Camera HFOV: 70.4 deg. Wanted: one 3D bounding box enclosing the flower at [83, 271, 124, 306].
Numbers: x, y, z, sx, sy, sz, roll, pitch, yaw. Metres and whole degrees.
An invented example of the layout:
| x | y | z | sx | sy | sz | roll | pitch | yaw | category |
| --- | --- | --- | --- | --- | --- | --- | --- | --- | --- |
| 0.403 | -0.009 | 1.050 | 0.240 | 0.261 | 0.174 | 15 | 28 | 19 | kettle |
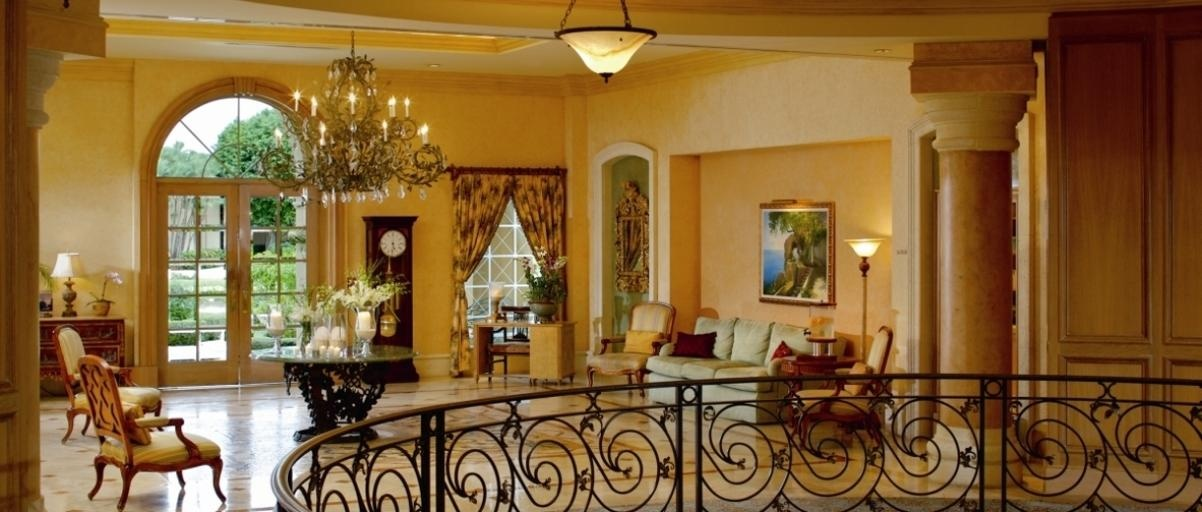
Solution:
| x | y | z | sx | sy | sz | roll | pitch | yaw | category |
| --- | --- | --- | --- | --- | --- | --- | --- | --- | --- |
| -9.861 | 0.689 | 17.092 | 0.847 | 0.671 | 0.681 | 2 | -4 | -29 | flower |

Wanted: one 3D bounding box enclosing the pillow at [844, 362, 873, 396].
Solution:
| x | y | z | sx | sy | sz | roll | pitch | yaw | category |
| --- | --- | --- | --- | --- | --- | --- | --- | --- | --- |
| 4.131 | 2.002 | 13.718 | 0.243 | 0.624 | 0.692 | 22 | -15 | -9 | pillow |

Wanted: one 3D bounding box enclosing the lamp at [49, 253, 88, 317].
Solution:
| x | y | z | sx | sy | sz | roll | pitch | yaw | category |
| --- | --- | --- | --- | --- | --- | --- | --- | --- | --- |
| -10.307 | 0.570 | 16.560 | 0.522 | 1.252 | 0.499 | -1 | -1 | -29 | lamp |

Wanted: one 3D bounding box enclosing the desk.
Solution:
| x | y | z | sx | sy | sz | roll | pitch | yaw | category |
| --- | --- | --- | --- | --- | --- | --- | --- | --- | --- |
| -1.526 | 2.101 | 18.082 | 2.878 | 1.498 | 1.358 | -1 | -4 | 11 | desk |

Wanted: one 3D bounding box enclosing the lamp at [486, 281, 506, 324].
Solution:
| x | y | z | sx | sy | sz | roll | pitch | yaw | category |
| --- | --- | --- | --- | --- | --- | --- | --- | --- | --- |
| -2.165 | 0.973 | 18.061 | 0.357 | 0.775 | 0.758 | -1 | -1 | -6 | lamp |

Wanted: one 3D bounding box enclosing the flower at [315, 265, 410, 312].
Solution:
| x | y | z | sx | sy | sz | roll | pitch | yaw | category |
| --- | --- | --- | --- | --- | --- | --- | --- | --- | --- |
| -4.352 | 0.657 | 15.513 | 1.463 | 0.720 | 1.357 | -1 | -3 | -4 | flower |

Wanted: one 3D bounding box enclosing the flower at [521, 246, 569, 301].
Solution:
| x | y | z | sx | sy | sz | roll | pitch | yaw | category |
| --- | --- | --- | --- | --- | --- | --- | --- | --- | --- |
| -1.124 | 0.382 | 17.982 | 1.586 | 1.136 | 0.677 | 0 | -1 | 12 | flower |

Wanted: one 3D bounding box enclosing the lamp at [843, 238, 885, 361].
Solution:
| x | y | z | sx | sy | sz | roll | pitch | yaw | category |
| --- | --- | --- | --- | --- | --- | --- | --- | --- | --- |
| 4.761 | 0.774 | 15.466 | 0.752 | 2.109 | 0.787 | 2 | 4 | 14 | lamp |

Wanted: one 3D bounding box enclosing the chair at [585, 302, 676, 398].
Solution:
| x | y | z | sx | sy | sz | roll | pitch | yaw | category |
| --- | --- | --- | --- | --- | --- | --- | --- | --- | --- |
| 0.779 | 1.723 | 17.014 | 1.900 | 1.976 | 2.009 | 0 | -3 | 43 | chair |

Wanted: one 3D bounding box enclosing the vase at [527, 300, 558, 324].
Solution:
| x | y | z | sx | sy | sz | roll | pitch | yaw | category |
| --- | --- | --- | --- | --- | --- | --- | --- | --- | --- |
| -1.163 | 1.161 | 17.777 | 0.575 | 0.284 | 0.491 | 0 | -5 | 2 | vase |

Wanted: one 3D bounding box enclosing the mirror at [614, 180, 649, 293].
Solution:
| x | y | z | sx | sy | sz | roll | pitch | yaw | category |
| --- | --- | --- | --- | --- | --- | --- | --- | --- | --- |
| 0.659 | -0.371 | 17.874 | 0.296 | 2.306 | 0.896 | -1 | -2 | -37 | mirror |

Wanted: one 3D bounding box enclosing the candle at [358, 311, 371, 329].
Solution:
| x | y | z | sx | sy | sz | roll | pitch | yaw | category |
| --- | --- | --- | --- | --- | --- | --- | --- | --- | --- |
| -4.057 | 1.132 | 14.720 | 0.217 | 0.298 | 0.223 | -1 | -1 | -14 | candle |

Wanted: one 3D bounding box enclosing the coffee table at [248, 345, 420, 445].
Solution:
| x | y | z | sx | sy | sz | roll | pitch | yaw | category |
| --- | --- | --- | --- | --- | --- | --- | --- | --- | --- |
| -4.431 | 2.373 | 14.554 | 2.354 | 1.511 | 1.059 | -1 | -1 | -7 | coffee table |

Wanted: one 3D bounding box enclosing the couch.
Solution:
| x | y | z | sx | sy | sz | roll | pitch | yaw | category |
| --- | --- | --- | --- | --- | --- | --- | --- | --- | --- |
| 2.310 | 1.969 | 15.729 | 2.012 | 1.554 | 3.531 | 4 | -3 | -40 | couch |

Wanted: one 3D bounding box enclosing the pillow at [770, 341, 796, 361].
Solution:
| x | y | z | sx | sy | sz | roll | pitch | yaw | category |
| --- | --- | --- | --- | --- | --- | --- | --- | --- | --- |
| 3.177 | 1.730 | 15.187 | 0.111 | 0.324 | 0.344 | 30 | -51 | -33 | pillow |

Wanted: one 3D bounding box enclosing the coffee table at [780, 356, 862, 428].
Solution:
| x | y | z | sx | sy | sz | roll | pitch | yaw | category |
| --- | --- | --- | --- | --- | --- | --- | --- | --- | --- |
| 3.548 | 2.179 | 13.696 | 0.901 | 1.384 | 1.352 | -5 | 1 | -40 | coffee table |

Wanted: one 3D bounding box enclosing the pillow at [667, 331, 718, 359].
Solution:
| x | y | z | sx | sy | sz | roll | pitch | yaw | category |
| --- | --- | --- | --- | --- | --- | --- | --- | --- | --- |
| 1.740 | 1.732 | 16.344 | 0.686 | 0.586 | 0.179 | 5 | -41 | 16 | pillow |

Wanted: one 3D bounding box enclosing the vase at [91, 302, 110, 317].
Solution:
| x | y | z | sx | sy | sz | roll | pitch | yaw | category |
| --- | --- | --- | --- | --- | --- | --- | --- | --- | --- |
| -9.729 | 1.050 | 16.664 | 0.355 | 0.207 | 0.314 | 2 | -3 | -34 | vase |
